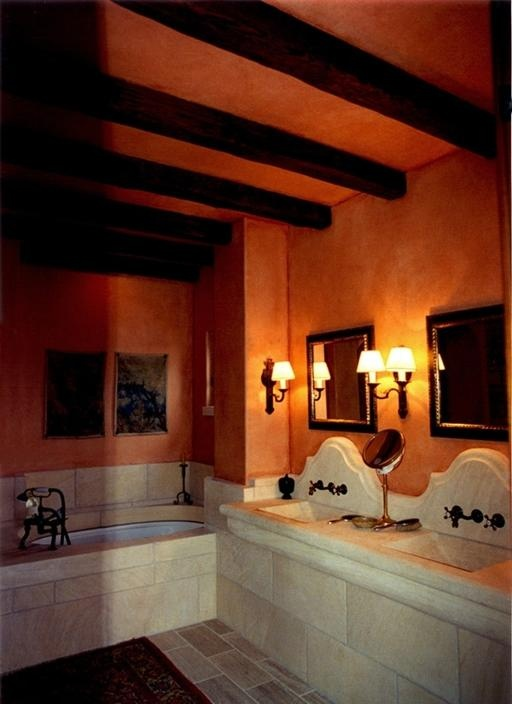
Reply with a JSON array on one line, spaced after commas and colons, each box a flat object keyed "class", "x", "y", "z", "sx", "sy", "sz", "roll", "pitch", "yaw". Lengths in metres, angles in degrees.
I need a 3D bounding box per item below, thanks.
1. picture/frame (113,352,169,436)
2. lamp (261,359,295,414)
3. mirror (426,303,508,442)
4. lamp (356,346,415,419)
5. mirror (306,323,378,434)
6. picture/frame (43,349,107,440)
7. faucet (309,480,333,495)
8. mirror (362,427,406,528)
[{"class": "picture/frame", "x": -1.061, "y": 0.379, "z": 4.971, "sx": 0.675, "sy": 1.002, "sz": 0.101, "roll": 3, "pitch": -4, "yaw": -39}, {"class": "lamp", "x": 0.165, "y": 0.233, "z": 3.697, "sx": 0.190, "sy": 0.372, "sz": 0.184, "roll": -5, "pitch": -7, "yaw": 10}, {"class": "mirror", "x": 0.967, "y": 0.097, "z": 2.501, "sx": 0.049, "sy": 0.696, "sz": 0.558, "roll": 3, "pitch": -7, "yaw": -23}, {"class": "lamp", "x": 0.697, "y": 0.154, "z": 2.931, "sx": 0.193, "sy": 0.336, "sz": 0.299, "roll": 13, "pitch": -17, "yaw": -35}, {"class": "mirror", "x": 0.502, "y": 0.167, "z": 3.367, "sx": 0.034, "sy": 0.620, "sz": 0.606, "roll": 2, "pitch": -7, "yaw": -34}, {"class": "picture/frame", "x": -1.525, "y": 0.353, "z": 4.567, "sx": 0.092, "sy": 0.937, "sz": 0.661, "roll": -5, "pitch": -7, "yaw": 44}, {"class": "faucet", "x": 0.382, "y": 0.813, "z": 3.304, "sx": 0.069, "sy": 0.097, "sz": 0.247, "roll": 2, "pitch": -6, "yaw": -22}, {"class": "mirror", "x": 0.635, "y": 0.613, "z": 2.786, "sx": 0.196, "sy": 0.448, "sz": 0.421, "roll": -1, "pitch": -6, "yaw": 11}]
